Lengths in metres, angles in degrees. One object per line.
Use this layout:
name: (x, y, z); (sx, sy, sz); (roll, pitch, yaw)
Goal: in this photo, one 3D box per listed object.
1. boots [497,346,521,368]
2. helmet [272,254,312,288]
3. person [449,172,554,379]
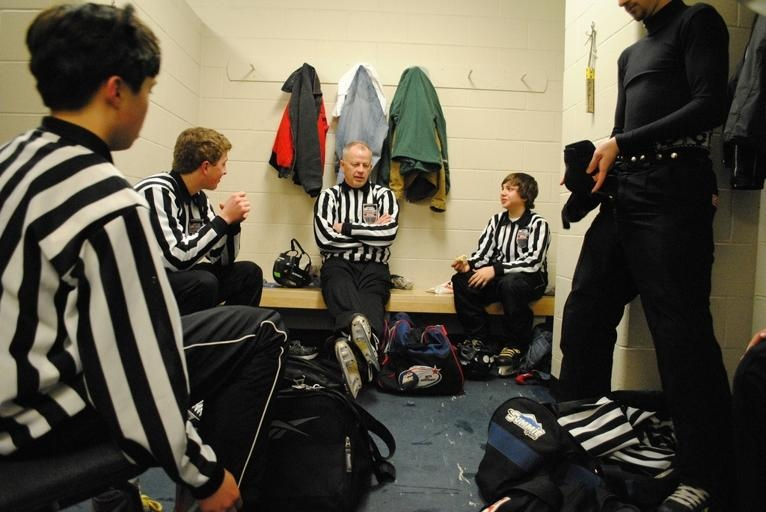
boots: (0.753, 0.600, 3.315); (0.129, 0.083, 0.181); (4, 11, 22)
helmet: (-0.562, 0.100, 3.715); (0.277, 0.245, 0.207); (7, -3, -34)
person: (0.684, 0.086, 3.418); (0.542, 1.138, 0.813); (5, 12, 25)
